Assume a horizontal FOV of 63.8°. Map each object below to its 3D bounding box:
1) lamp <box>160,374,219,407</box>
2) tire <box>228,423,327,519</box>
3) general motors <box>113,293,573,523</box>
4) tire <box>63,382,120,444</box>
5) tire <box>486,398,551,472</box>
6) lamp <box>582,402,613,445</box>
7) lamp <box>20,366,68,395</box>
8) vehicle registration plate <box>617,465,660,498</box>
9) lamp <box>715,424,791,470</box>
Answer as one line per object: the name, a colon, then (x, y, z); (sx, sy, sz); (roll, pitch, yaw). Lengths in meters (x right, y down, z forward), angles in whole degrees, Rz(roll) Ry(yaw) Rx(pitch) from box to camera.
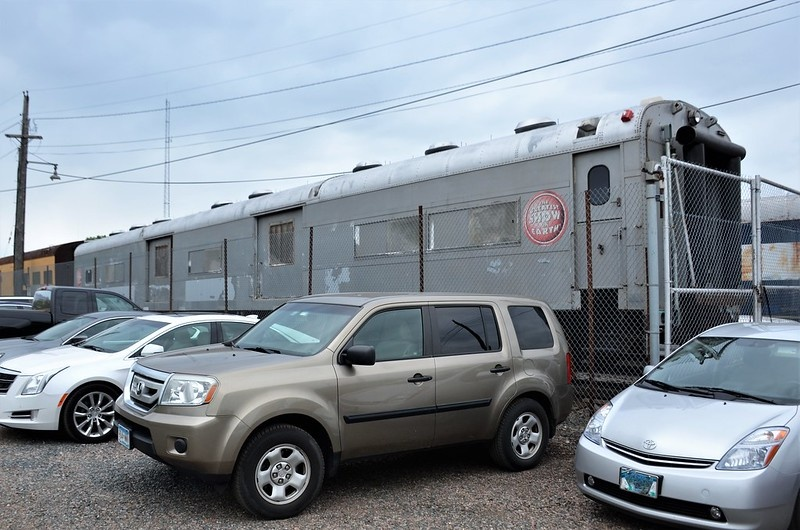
lamp: (-2.098, 1.256, 6.392); (0.392, 0.157, 0.381); (-7, -10, 36)
tire: (-1.244, 2.053, 6.410); (0.957, 0.963, 0.311); (1, -6, -24)
general motors: (-0.467, 1.320, 7.556); (4.161, 1.720, 2.384); (4, -5, -29)
tire: (-4.219, 2.038, 8.809); (0.261, 0.798, 0.804); (-6, -11, 37)
tire: (1.387, 2.025, 7.677); (0.841, 0.843, 0.298); (6, -8, -34)
lamp: (2.090, 1.655, 6.784); (0.436, 0.116, 0.218); (-40, 18, -30)
lamp: (-4.733, 1.550, 8.568); (0.518, 0.308, 0.140); (-2, 5, -31)
vehicle registration plate: (2.280, 2.073, 6.145); (0.376, 0.214, 0.051); (4, 6, 38)
lamp: (3.323, 1.699, 6.040); (0.223, 0.236, 0.908); (-13, -19, -28)
